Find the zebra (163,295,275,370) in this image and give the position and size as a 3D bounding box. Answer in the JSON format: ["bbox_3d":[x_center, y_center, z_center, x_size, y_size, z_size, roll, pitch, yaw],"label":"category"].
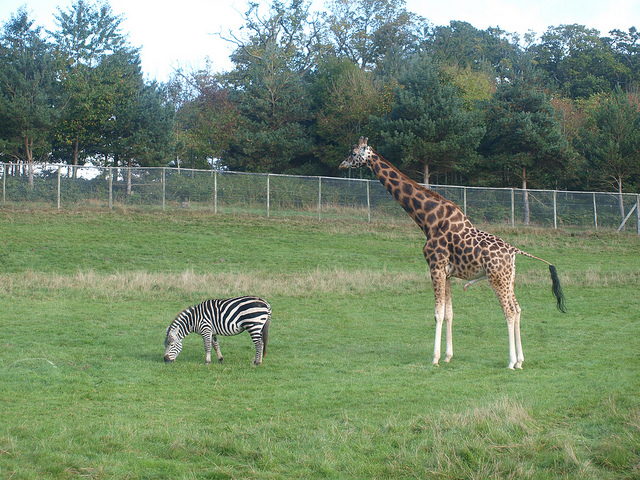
[{"bbox_3d":[-4.292,4.016,48.823,4.314,3.125,2.289,1,-1,0],"label":"zebra"}]
